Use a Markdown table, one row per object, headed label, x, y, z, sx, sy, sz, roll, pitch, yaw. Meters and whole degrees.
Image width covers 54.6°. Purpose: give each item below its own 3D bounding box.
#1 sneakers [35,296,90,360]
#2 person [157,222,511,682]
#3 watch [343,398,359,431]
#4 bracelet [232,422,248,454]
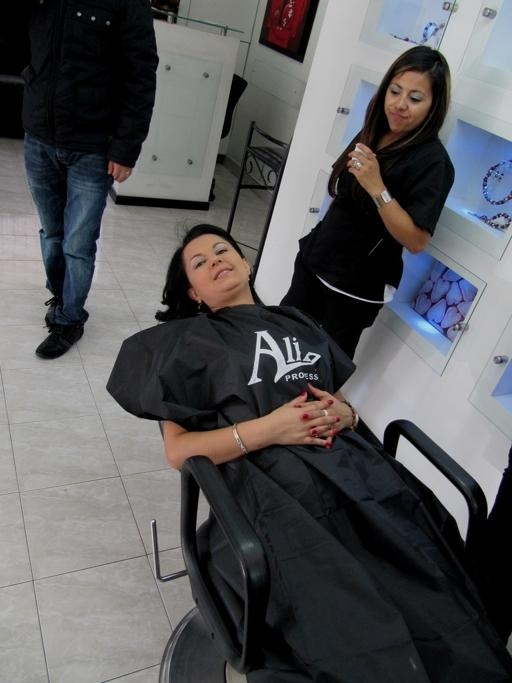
| label | x | y | z | sx | sy | sz | roll | pitch | yaw |
| --- | --- | --- | --- | --- | --- | --- | --- | --- | --- |
| sneakers | -0.882 | -0.069 | 2.226 | 0.121 | 0.236 | 0.351 | 19 | 22 | 7 |
| person | 0.101 | 0.058 | 1.345 | 0.695 | 1.202 | 0.719 | -16 | 26 | -30 |
| watch | 0.218 | 0.162 | 1.110 | 0.025 | 0.056 | 0.059 | -6 | 75 | -4 |
| bracelet | -0.030 | 0.177 | 0.896 | 0.042 | 0.011 | 0.037 | 61 | -6 | 3 |
